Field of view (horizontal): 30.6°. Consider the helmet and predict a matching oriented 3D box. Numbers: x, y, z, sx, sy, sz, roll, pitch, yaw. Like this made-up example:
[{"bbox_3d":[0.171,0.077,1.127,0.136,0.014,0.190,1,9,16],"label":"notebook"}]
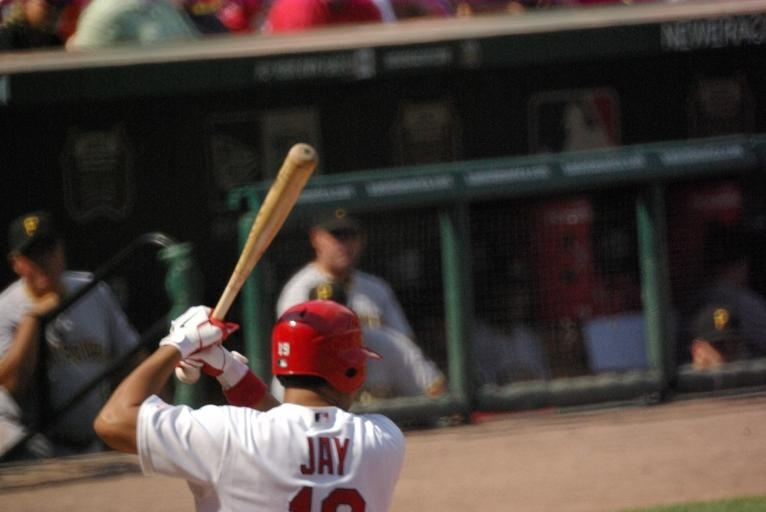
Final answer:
[{"bbox_3d":[-0.278,0.436,7.002,0.485,0.487,0.587,4,7,22],"label":"helmet"}]
